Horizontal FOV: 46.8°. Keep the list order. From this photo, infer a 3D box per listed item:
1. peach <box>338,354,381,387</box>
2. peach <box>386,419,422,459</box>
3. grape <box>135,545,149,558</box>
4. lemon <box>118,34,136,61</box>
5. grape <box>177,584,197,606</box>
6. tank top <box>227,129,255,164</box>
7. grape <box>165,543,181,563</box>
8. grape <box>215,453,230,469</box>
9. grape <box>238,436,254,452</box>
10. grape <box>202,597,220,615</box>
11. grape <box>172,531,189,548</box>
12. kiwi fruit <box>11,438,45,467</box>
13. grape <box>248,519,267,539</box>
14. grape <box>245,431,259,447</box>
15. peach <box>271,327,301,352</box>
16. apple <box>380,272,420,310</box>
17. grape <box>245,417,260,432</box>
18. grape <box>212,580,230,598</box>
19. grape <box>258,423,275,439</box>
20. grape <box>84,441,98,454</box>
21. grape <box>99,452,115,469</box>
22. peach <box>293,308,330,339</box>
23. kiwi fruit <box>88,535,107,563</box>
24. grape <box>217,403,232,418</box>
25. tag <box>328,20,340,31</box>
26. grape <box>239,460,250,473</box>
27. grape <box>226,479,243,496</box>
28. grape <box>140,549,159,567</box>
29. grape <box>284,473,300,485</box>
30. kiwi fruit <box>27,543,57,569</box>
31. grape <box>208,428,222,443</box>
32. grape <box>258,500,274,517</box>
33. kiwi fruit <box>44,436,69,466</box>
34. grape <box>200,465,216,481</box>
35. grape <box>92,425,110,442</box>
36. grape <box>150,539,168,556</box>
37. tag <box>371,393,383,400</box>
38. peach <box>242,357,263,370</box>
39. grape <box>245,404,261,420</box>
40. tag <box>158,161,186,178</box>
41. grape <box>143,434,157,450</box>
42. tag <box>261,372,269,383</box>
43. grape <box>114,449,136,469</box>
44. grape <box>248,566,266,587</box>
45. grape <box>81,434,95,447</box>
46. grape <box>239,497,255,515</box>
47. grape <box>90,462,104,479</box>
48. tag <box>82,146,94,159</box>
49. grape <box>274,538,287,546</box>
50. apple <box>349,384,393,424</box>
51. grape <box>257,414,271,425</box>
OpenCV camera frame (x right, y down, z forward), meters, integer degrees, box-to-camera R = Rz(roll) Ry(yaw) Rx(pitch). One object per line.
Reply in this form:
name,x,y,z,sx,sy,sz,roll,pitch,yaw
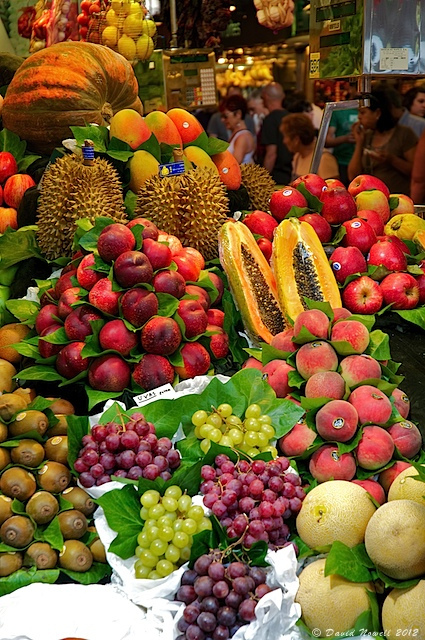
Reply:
peach,0.391,0.135,1.300,0.084,0.098,0.085,29,-31,-26
peach,0.474,0.289,1.236,0.064,0.078,0.097,-14,22,-43
grape,-0.136,0.455,0.958,0.023,0.023,0.027,2,-21,-9
lemon,-0.429,-1.374,2.461,0.074,0.097,0.061,-7,22,-3
grape,-0.044,0.483,0.858,0.034,0.039,0.034,2,2,5
tank top,0.342,-2.062,5.799,0.265,0.360,0.480,-2,19,5
grape,-0.074,0.442,0.923,0.031,0.036,0.031,-2,-23,-2
grape,0.018,0.304,1.049,0.028,0.032,0.028,-10,-10,-4
grape,0.074,0.284,1.117,0.030,0.034,0.029,-3,26,-5
grape,-0.003,0.479,0.820,0.024,0.028,0.025,-1,-17,-3
grape,-0.059,0.413,0.917,0.027,0.027,0.032,0,-1,12
kiwi fruit,-0.419,0.314,1.150,0.058,0.063,0.070,8,-22,-2
grape,0.081,0.387,0.901,0.031,0.036,0.029,2,8,4
grape,0.088,0.267,1.094,0.029,0.033,0.029,0,-13,-6
peach,0.203,0.067,1.407,0.065,0.063,0.063,-6,-27,-21
apple,0.601,-0.103,1.609,0.124,0.115,0.097,15,25,42
grape,0.092,0.242,1.127,0.027,0.025,0.027,6,9,-2
grape,0.014,0.453,0.819,0.026,0.030,0.025,3,6,3
grape,0.127,0.256,1.131,0.035,0.026,0.027,34,56,-3
grape,-0.268,0.290,1.109,0.022,0.022,0.026,-7,24,18
grape,-0.228,0.310,1.072,0.035,0.040,0.035,3,10,7
peach,0.274,0.018,1.336,0.097,0.074,0.098,-2,19,3
kiwi fruit,-0.254,0.514,1.086,0.044,0.058,0.045,-6,37,-2
grape,0.031,0.213,1.150,0.029,0.027,0.027,4,5,-2
tag,0.541,-1.312,2.184,0.004,0.039,0.090,-10,20,-17
grape,0.068,0.312,1.035,0.021,0.024,0.021,1,4,3
grape,0.041,0.337,0.980,0.033,0.024,0.025,3,25,-12
grape,-0.121,0.457,0.931,0.032,0.036,0.032,-7,44,-3
grape,0.167,0.336,1.027,0.030,0.022,0.022,2,0,-27
kiwi fruit,-0.354,0.495,1.024,0.050,0.050,0.059,9,18,4
grape,0.006,0.259,1.086,0.023,0.027,0.025,3,8,4
grape,0.103,0.363,0.939,0.025,0.026,0.032,8,22,30
kiwi fruit,-0.376,0.319,1.188,0.051,0.051,0.067,-11,14,-30
grape,-0.011,0.323,1.031,0.029,0.034,0.030,12,1,-9
grape,-0.251,0.260,1.114,0.035,0.034,0.033,1,-28,-7
grape,-0.101,0.429,0.918,0.025,0.024,0.033,-4,1,-15
tag,0.393,0.184,1.171,0.020,0.005,0.012,15,16,-37
peach,0.121,0.140,1.476,0.037,0.043,0.036,18,-21,-23
grape,0.099,0.218,1.167,0.033,0.038,0.033,3,8,7
tag,-0.144,-0.541,1.758,0.090,0.051,0.020,-8,-2,-11
grape,-0.134,0.275,1.098,0.031,0.036,0.030,0,-3,0
tag,0.141,0.159,1.342,0.019,0.010,0.024,-3,49,18
grape,-0.188,0.305,1.067,0.034,0.035,0.045,0,1,-5
grape,0.080,0.457,0.873,0.029,0.029,0.028,0,-7,-6
grape,-0.295,0.278,1.143,0.026,0.026,0.031,-45,14,-29
grape,0.066,0.362,0.953,0.030,0.035,0.028,16,-28,6
grape,-0.251,0.335,1.074,0.028,0.033,0.021,-16,23,-32
tag,-0.412,-0.562,1.642,0.040,0.042,0.040,-2,15,-3
grape,0.135,0.443,0.973,0.021,0.010,0.010,-11,-14,-17
apple,0.373,0.202,1.171,0.094,0.088,0.090,5,5,13
grape,0.122,0.236,1.145,0.024,0.023,0.023,1,9,2
